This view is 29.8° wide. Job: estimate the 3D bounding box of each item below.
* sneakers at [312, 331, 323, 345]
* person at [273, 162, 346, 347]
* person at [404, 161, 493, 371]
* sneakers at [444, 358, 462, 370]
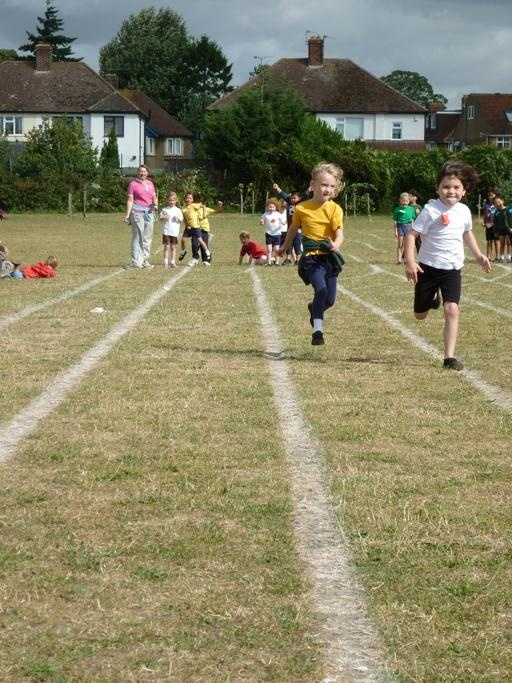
[{"bbox_3d":[0.496,-0.024,7.846,0.083,0.126,0.203,1,9,1],"label":"sneakers"},{"bbox_3d":[0.468,-0.690,8.090,0.498,1.592,0.916,1,10,2],"label":"person"},{"bbox_3d":[1.472,-0.614,7.503,0.620,1.579,0.773,5,10,19],"label":"person"},{"bbox_3d":[1.492,0.176,7.307,0.067,0.057,0.150,-4,-3,-15],"label":"sneakers"}]
